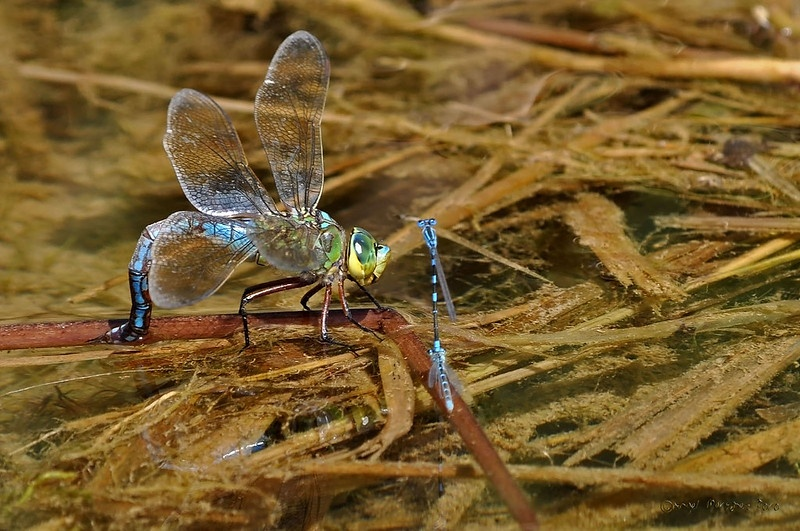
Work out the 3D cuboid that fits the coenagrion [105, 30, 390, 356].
[{"bbox_3d":[-0.815,-0.386,3.786,1.464,1.467,0.690,-16,17,-14],"label":"coenagrion"}]
